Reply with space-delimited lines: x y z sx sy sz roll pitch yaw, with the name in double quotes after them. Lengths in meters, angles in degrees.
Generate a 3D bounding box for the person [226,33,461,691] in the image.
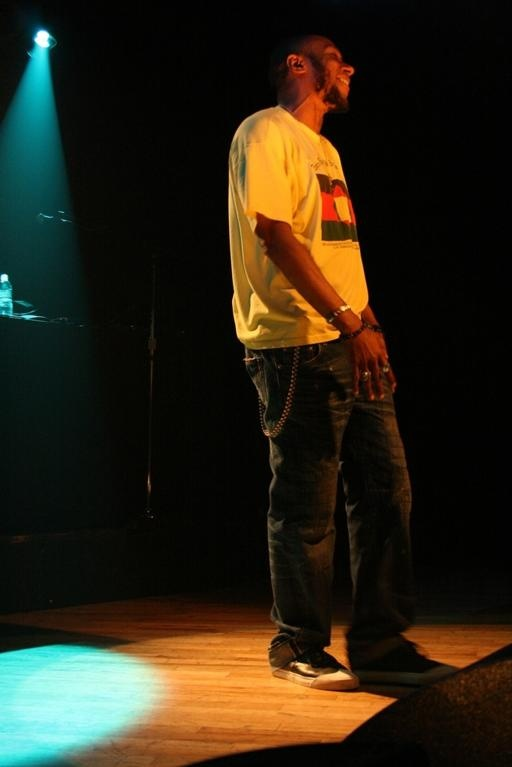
0.151 -0.100 1.394 0.400 1.291 0.276 0 -7 -4 "person"

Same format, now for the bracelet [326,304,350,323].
0.146 -0.125 1.261 0.037 0.015 0.033 -46 0 7 "bracelet"

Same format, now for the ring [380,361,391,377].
0.253 -0.031 1.376 0.017 0.010 0.026 -13 16 7 "ring"

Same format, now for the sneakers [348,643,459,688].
0.273 0.505 1.293 0.189 0.052 0.138 -1 -8 -2 "sneakers"

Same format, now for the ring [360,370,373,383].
0.200 -0.013 1.291 0.014 0.021 0.020 0 9 -8 "ring"

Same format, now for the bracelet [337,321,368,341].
0.179 -0.095 1.278 0.051 0.032 0.023 1 -7 -15 "bracelet"

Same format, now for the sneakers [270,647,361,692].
0.109 0.510 1.306 0.158 0.068 0.061 -8 -14 39 "sneakers"
